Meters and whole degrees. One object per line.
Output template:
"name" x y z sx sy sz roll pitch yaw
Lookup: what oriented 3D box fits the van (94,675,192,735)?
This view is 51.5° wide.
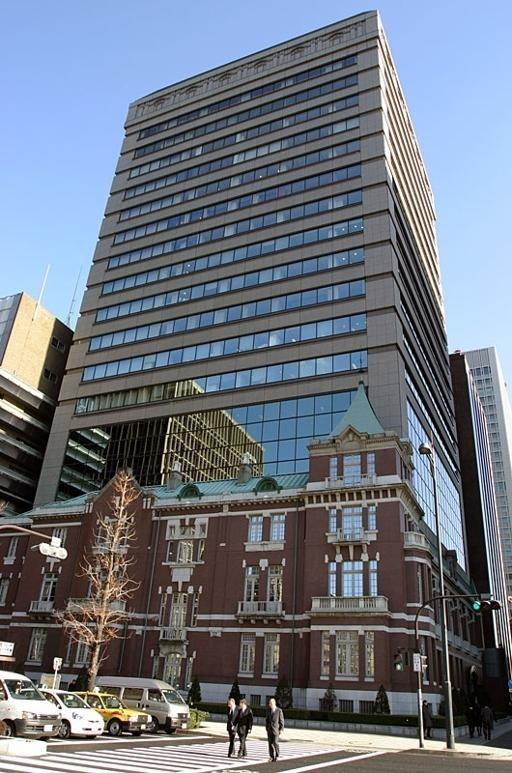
"van" -5.592 15.370 25.804 4.336 2.302 2.121 -7 -29 19
